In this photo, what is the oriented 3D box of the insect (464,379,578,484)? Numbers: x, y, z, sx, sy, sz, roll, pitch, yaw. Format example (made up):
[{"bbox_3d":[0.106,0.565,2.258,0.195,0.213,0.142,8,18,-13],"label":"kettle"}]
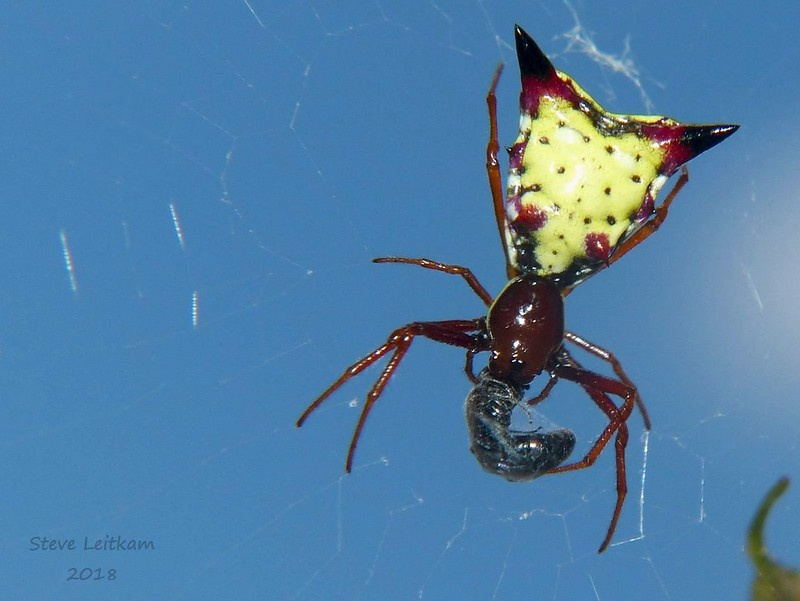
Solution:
[{"bbox_3d":[0.373,0.335,3.396,0.317,0.424,0.173,3,-38,-33],"label":"insect"}]
